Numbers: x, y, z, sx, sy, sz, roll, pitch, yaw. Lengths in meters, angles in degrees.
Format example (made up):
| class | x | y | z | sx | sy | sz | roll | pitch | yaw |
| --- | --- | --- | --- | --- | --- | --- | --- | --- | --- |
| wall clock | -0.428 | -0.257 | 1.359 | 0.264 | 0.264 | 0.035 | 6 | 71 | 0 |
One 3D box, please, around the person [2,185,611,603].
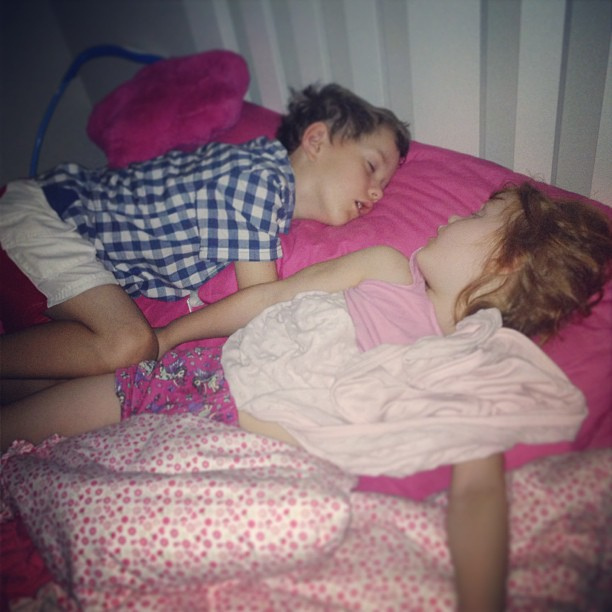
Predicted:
| class | x | y | z | sx | sy | sz | roll | pitch | yaw |
| --- | --- | --- | --- | --- | --- | --- | --- | --- | --- |
| person | 0.063 | 0.202 | 0.948 | 0.755 | 0.289 | 0.526 | -25 | 61 | -8 |
